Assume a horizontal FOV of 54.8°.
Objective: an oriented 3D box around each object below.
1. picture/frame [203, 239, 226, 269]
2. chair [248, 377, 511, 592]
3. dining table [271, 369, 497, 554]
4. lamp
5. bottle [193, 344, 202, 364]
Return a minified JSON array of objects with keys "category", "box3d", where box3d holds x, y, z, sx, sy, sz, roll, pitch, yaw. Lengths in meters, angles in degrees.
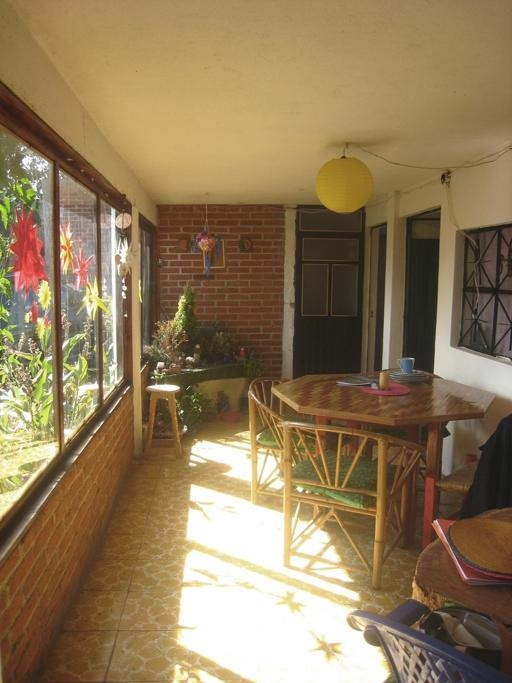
[{"category":"picture/frame","box3d":[-0.509,-1.121,6.286,0.239,0.389,0.034,1,3,-7]},{"category":"chair","box3d":[0.549,0.594,2.822,1.036,1.381,0.982,9,29,18]},{"category":"dining table","box3d":[0.790,0.403,2.935,0.939,0.648,0.994,6,22,23]},{"category":"lamp","box3d":[0.565,-1.029,3.161,0.366,0.480,0.370,-13,17,-28]},{"category":"bottle","box3d":[-0.694,0.147,5.853,0.097,0.210,0.353,0,4,-8]}]
